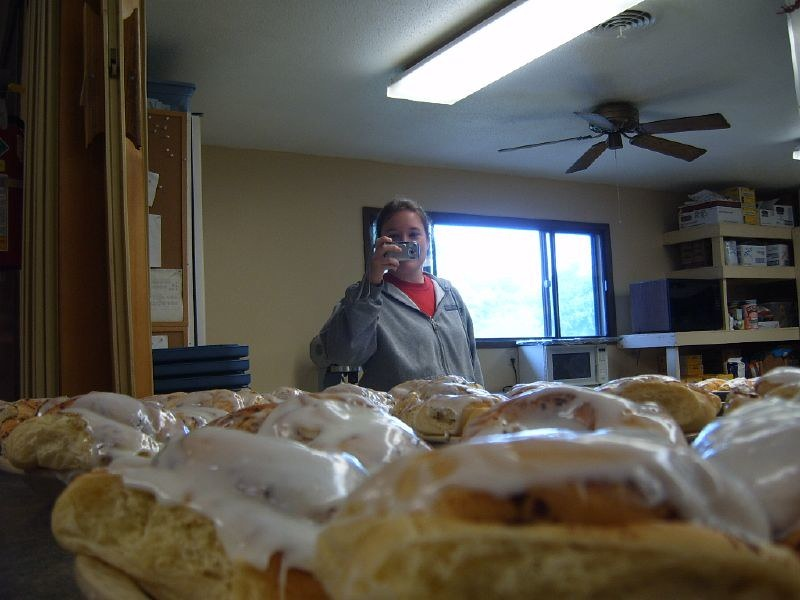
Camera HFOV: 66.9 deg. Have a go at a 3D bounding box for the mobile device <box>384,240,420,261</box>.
[{"bbox_3d":[0.012,-0.154,1.906,0.103,0.060,0.055,-1,-1,-6],"label":"mobile device"}]

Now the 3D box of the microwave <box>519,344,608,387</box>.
[{"bbox_3d":[0.997,0.379,3.607,0.487,0.316,0.365,2,-7,-26],"label":"microwave"}]

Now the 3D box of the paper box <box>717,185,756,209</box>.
[{"bbox_3d":[2.645,-0.805,4.759,0.203,0.193,0.193,-3,4,-24],"label":"paper box"}]

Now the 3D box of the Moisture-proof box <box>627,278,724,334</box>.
[{"bbox_3d":[1.983,0.053,4.377,0.452,0.356,0.474,-4,-10,24],"label":"Moisture-proof box"}]
